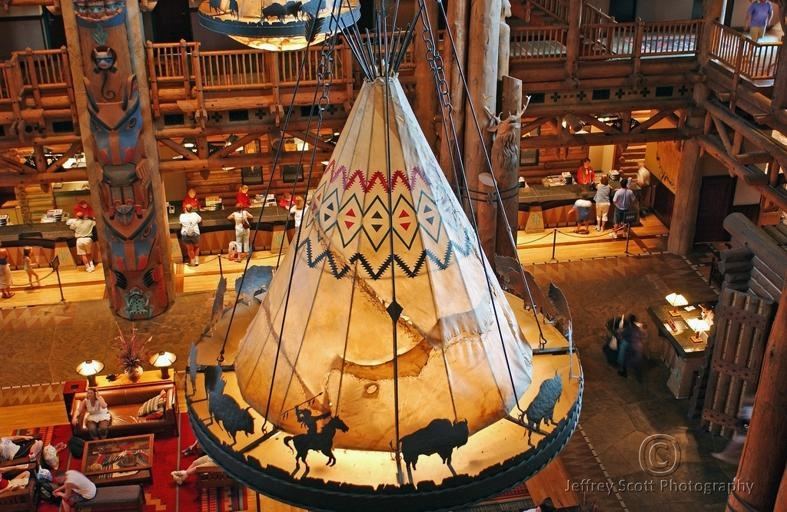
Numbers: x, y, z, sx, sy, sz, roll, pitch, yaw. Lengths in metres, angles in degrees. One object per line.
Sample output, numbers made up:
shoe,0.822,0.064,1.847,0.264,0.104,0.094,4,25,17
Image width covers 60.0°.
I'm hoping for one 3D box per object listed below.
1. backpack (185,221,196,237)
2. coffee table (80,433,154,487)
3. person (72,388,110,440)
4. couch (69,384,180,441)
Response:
backpack,-5.222,-0.693,17.529,0.390,0.394,0.104,2,-3,-21
coffee table,-4.813,3.647,12.062,1.007,0.405,0.764,-3,51,-4
person,-5.484,2.972,12.566,0.638,1.092,0.615,-2,10,-2
couch,-4.954,2.935,12.826,2.138,0.903,0.920,-4,-24,-8
